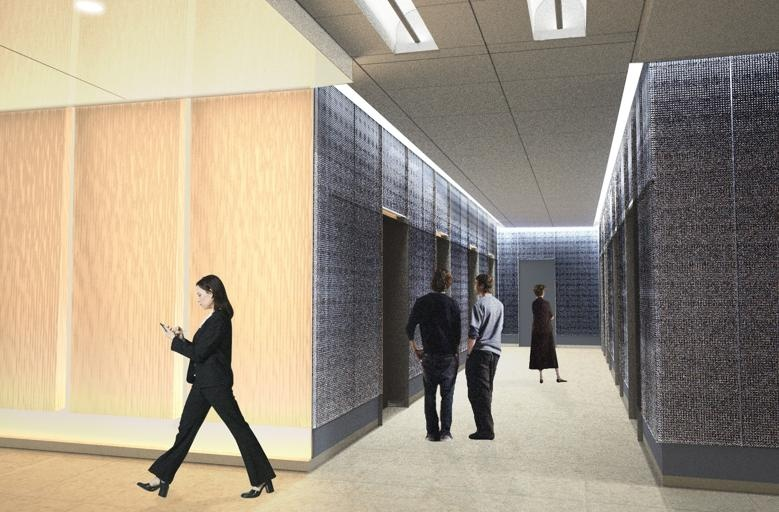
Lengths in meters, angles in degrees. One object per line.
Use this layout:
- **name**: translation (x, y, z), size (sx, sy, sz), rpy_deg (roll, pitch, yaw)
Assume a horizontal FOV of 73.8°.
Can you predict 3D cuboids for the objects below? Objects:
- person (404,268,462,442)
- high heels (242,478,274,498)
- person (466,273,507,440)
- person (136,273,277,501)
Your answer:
- **person**: translation (0.549, 1.257, 6.694), size (0.675, 2.151, 0.422), rpy_deg (0, -2, 2)
- **high heels**: translation (-1.296, 2.236, 5.043), size (0.283, 0.138, 0.148), rpy_deg (1, -8, -13)
- **person**: translation (1.225, 1.287, 6.812), size (0.445, 2.101, 0.485), rpy_deg (0, -2, 10)
- **person**: translation (-1.705, 1.240, 5.009), size (1.121, 2.105, 0.352), rpy_deg (1, -2, -19)
